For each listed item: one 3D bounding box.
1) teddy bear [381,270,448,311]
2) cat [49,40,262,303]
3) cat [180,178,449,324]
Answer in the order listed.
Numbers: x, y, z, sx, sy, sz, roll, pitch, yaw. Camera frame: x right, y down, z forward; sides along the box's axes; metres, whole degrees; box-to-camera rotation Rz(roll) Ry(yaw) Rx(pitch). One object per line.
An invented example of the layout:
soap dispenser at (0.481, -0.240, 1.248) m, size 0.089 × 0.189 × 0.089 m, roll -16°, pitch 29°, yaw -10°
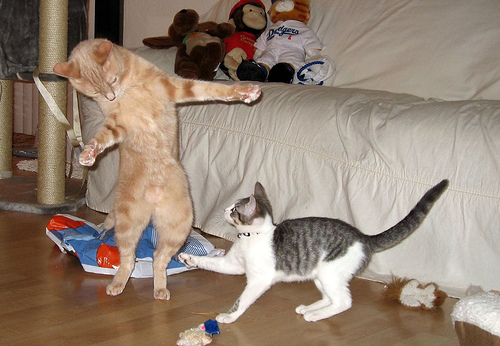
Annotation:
teddy bear at (0.759, 0.578, 2.197) m, size 0.287 × 0.102 × 0.137 m, roll 15°, pitch 43°, yaw 38°
cat at (-0.482, -0.003, 2.166) m, size 0.688 × 1.149 × 0.571 m, roll -10°, pitch 25°, yaw -40°
cat at (0.282, 0.379, 2.162) m, size 1.220 × 0.610 × 0.264 m, roll 0°, pitch -5°, yaw 0°
